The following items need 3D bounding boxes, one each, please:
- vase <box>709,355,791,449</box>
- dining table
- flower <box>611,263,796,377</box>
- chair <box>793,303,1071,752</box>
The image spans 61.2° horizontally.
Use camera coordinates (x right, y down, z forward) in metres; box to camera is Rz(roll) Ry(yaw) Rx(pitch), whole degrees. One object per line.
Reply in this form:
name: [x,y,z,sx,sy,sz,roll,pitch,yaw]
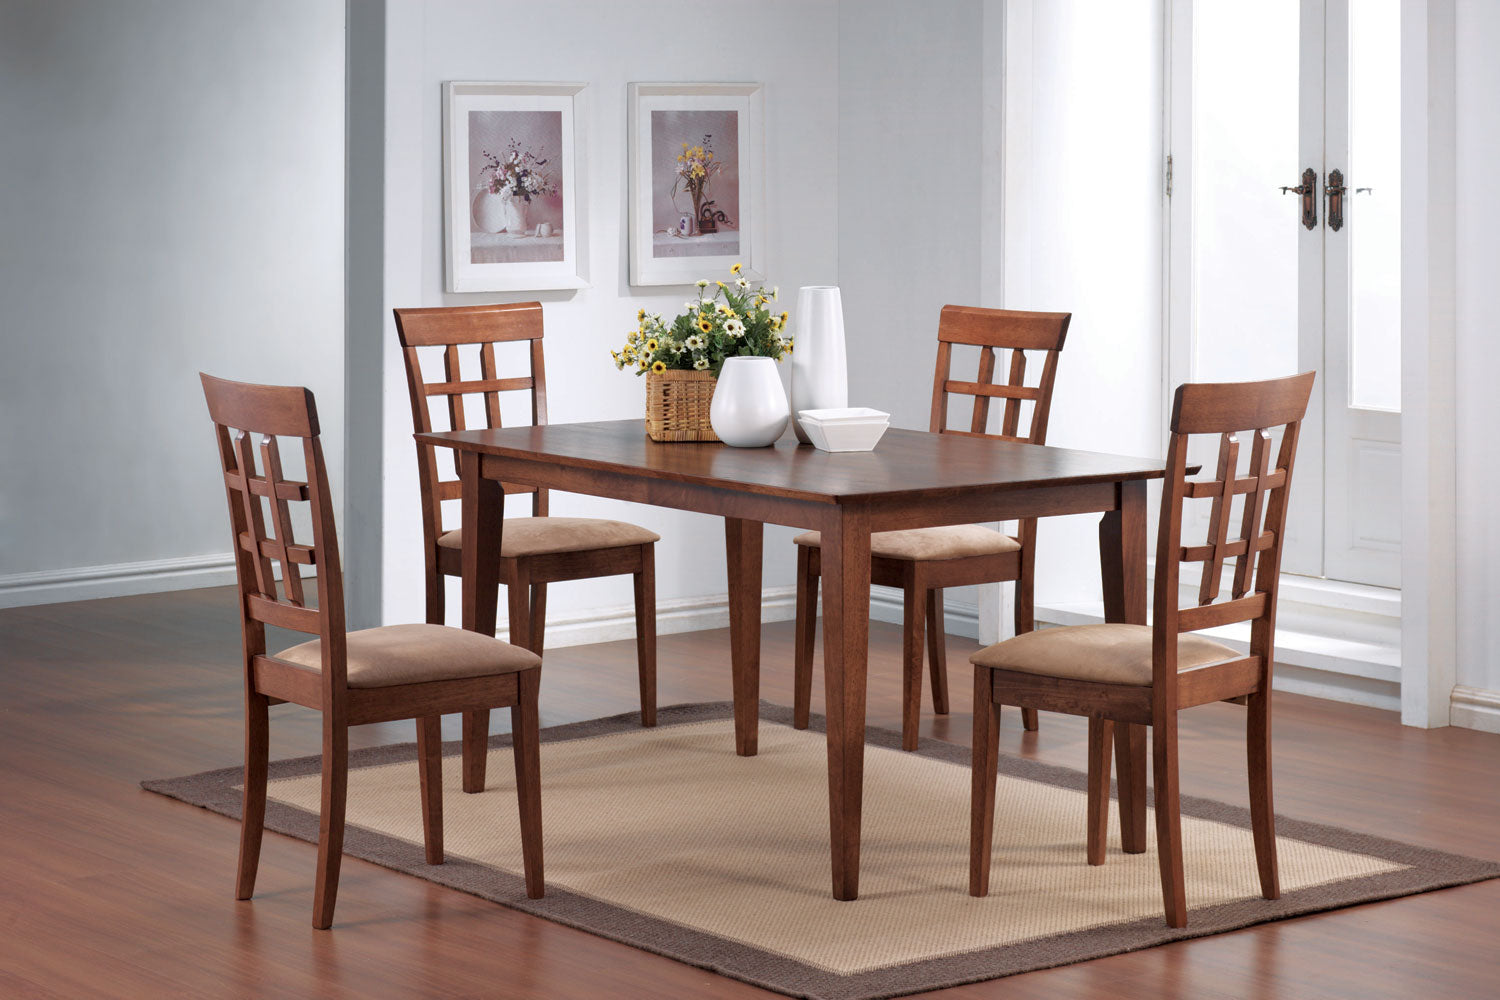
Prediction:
vase: [-0.004,-0.269,3.479,0.231,0.234,0.243,3,8,18]
dining table: [0.143,0.022,3.279,1.191,1.078,1.926,-1,3,-35]
flower: [-0.121,-0.514,3.586,0.438,0.303,0.429,-4,9,-24]
chair: [0.599,0.055,4.167,0.787,1.383,0.700,-5,8,-44]
